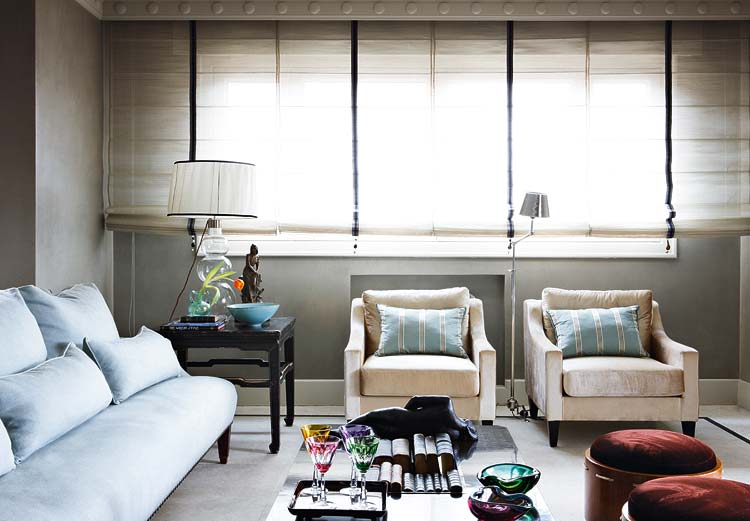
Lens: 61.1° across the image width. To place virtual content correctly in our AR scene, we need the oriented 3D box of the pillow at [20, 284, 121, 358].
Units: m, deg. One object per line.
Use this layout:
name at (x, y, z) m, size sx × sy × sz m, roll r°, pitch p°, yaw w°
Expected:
pillow at (-1.743, 0.353, 3.617) m, size 0.159 × 0.312 × 0.359 m, roll -13°, pitch -6°, yaw 21°

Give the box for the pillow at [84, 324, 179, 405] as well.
pillow at (-1.410, 0.599, 3.807) m, size 0.294 × 0.288 × 0.691 m, roll 11°, pitch 4°, yaw 10°

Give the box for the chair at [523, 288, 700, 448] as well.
chair at (1.730, 0.747, 4.809) m, size 1.038 × 0.983 × 1.126 m, roll -1°, pitch -2°, yaw 5°

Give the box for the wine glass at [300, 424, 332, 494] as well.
wine glass at (-0.260, 0.927, 3.024) m, size 0.162 × 0.341 × 0.218 m, roll -3°, pitch 10°, yaw -14°

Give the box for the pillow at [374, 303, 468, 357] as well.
pillow at (0.343, 0.531, 4.727) m, size 0.665 × 0.389 × 0.196 m, roll 1°, pitch -7°, yaw 4°

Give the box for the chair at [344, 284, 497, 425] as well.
chair at (0.322, 0.702, 4.831) m, size 1.214 × 0.825 × 1.182 m, roll 0°, pitch 5°, yaw 13°

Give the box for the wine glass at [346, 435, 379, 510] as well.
wine glass at (-0.042, 0.953, 2.983) m, size 0.146 × 0.309 × 0.216 m, roll 4°, pitch 11°, yaw 22°

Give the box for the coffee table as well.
coffee table at (-0.990, 0.831, 4.664) m, size 0.871 × 0.855 × 0.881 m, roll -1°, pitch -1°, yaw 3°
